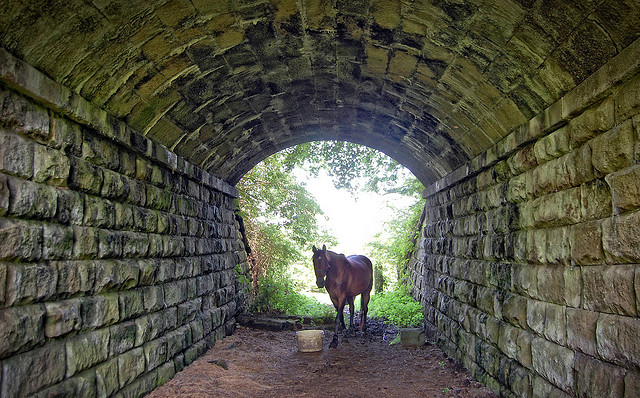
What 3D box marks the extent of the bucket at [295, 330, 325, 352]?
[{"bbox_3d":[-0.204,3.001,8.660,0.531,0.396,0.313,2,-4,-5],"label":"bucket"}]
